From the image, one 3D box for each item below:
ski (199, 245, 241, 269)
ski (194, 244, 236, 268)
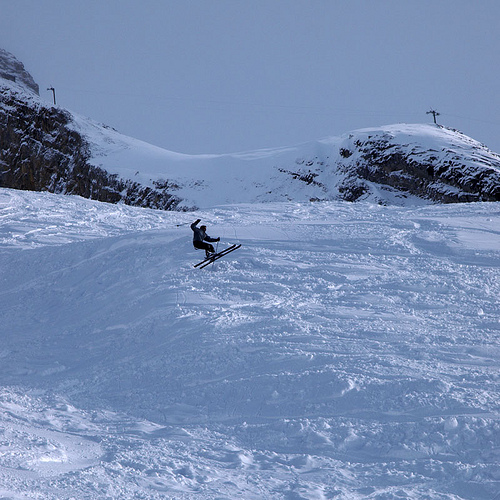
[{"bbox_3d":[-1.069,0.279,30.471,1.975,0.202,0.123,-21,51,0],"label":"ski"},{"bbox_3d":[-1.262,0.237,30.364,1.741,0.201,0.122,-24,49,-9],"label":"ski"}]
